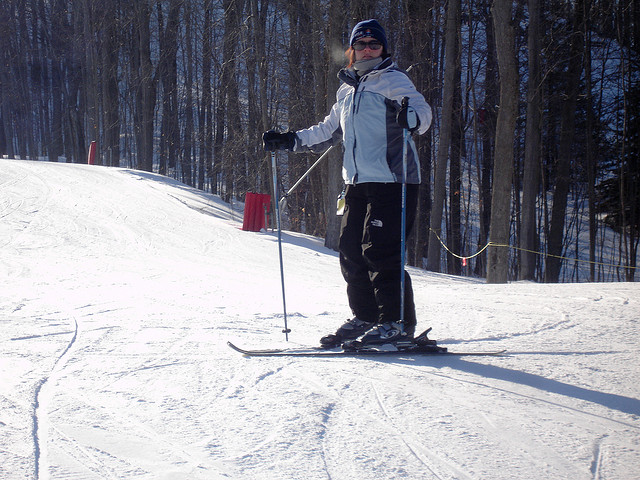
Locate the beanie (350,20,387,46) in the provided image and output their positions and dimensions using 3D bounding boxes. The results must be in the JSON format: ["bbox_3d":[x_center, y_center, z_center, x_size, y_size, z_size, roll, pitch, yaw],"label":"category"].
[{"bbox_3d":[0.682,-2.904,10.623,0.521,0.385,0.201,5,11,-1],"label":"beanie"}]
